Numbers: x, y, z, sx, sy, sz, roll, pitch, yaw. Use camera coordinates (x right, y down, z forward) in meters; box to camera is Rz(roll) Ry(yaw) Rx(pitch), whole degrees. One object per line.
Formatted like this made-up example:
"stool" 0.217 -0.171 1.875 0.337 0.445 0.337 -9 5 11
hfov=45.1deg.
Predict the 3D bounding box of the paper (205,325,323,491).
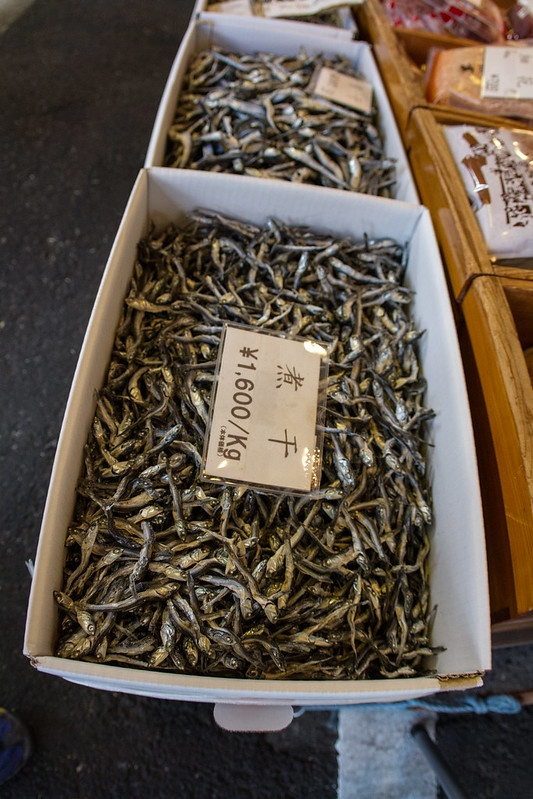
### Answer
"paper" 0.005 0.021 1.397 0.244 0.074 0.360 5 68 4
